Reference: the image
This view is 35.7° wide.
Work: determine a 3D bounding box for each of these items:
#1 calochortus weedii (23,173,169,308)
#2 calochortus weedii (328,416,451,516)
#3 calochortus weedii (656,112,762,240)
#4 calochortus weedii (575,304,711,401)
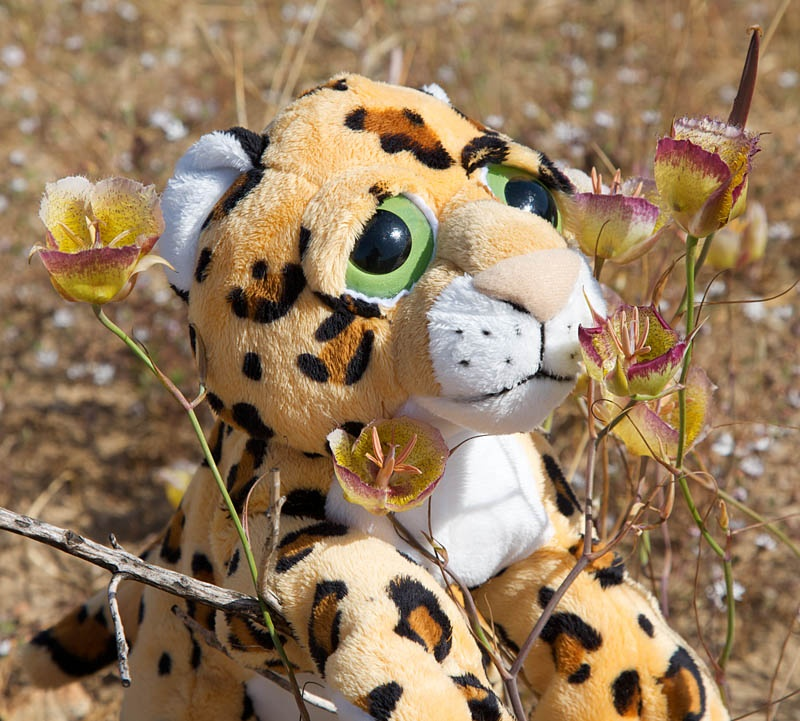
[{"bbox_3d":[-0.513,-0.177,2.062,0.203,0.198,0.161,-29,-30,-24],"label":"calochortus weedii"},{"bbox_3d":[-0.026,0.175,2.038,0.176,0.112,0.149,0,35,-27],"label":"calochortus weedii"},{"bbox_3d":[0.501,-0.302,2.119,0.155,0.176,0.154,11,14,8],"label":"calochortus weedii"},{"bbox_3d":[0.386,-0.019,2.017,0.152,0.131,0.178,-12,21,-26],"label":"calochortus weedii"}]
